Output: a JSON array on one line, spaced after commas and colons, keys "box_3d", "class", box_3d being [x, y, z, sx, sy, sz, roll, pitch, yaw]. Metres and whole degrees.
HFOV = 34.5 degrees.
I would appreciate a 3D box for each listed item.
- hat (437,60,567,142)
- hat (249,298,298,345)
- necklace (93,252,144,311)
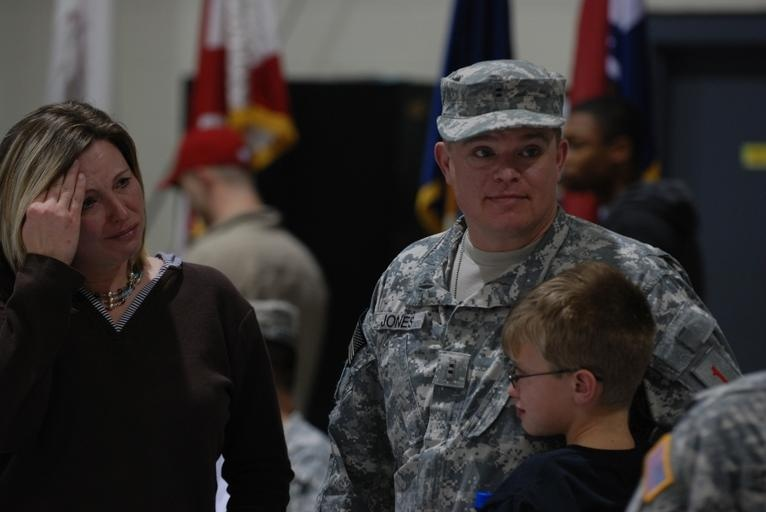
[{"box_3d": [0.445, -0.563, 4.480, 0.511, 0.326, 0.661, -1, 2, -10], "class": "hat"}, {"box_3d": [-0.523, 0.332, 6.191, 0.235, 0.108, 0.244, 17, 14, -16], "class": "hat"}, {"box_3d": [-0.951, 0.133, 4.425, 0.155, 0.061, 0.201, -15, 14, 21], "class": "necklace"}]
